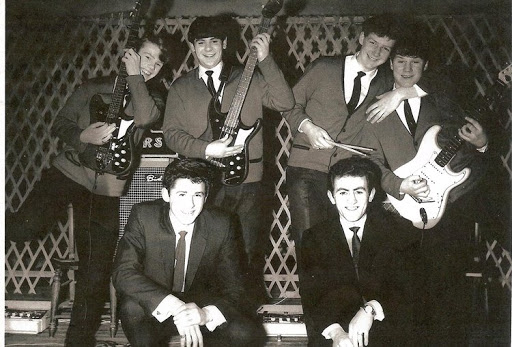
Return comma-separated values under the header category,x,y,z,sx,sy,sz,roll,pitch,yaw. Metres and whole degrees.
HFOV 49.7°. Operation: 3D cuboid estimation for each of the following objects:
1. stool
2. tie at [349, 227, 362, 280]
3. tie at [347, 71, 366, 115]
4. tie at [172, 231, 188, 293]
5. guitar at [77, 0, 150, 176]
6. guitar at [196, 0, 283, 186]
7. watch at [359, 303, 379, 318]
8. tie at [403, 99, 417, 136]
category,x,y,z,sx,sy,sz,roll,pitch,yaw
stool,-1.016,0.739,3.293,0.446,0.539,0.468,13,-19,-34
tie,0.562,0.468,3.146,0.077,0.299,0.029,-1,0,13
tie,0.570,-0.459,3.163,0.056,0.389,0.055,8,-1,10
tie,-0.428,0.479,3.124,0.078,0.375,0.048,2,-6,-21
guitar,-0.839,-0.297,3.162,0.308,0.630,0.138,0,-10,14
guitar,-0.122,-0.318,3.149,0.286,0.764,0.140,0,-10,14
watch,0.643,0.778,3.139,0.057,0.084,0.025,-34,-2,5
tie,0.877,-0.318,3.166,0.036,0.348,0.043,-7,8,20
